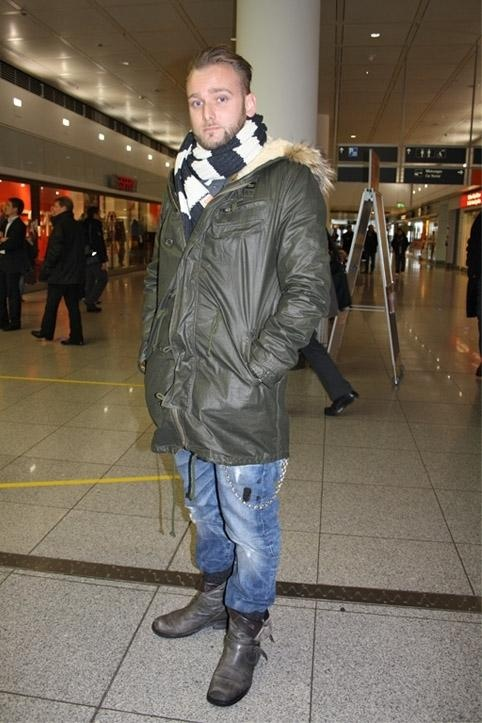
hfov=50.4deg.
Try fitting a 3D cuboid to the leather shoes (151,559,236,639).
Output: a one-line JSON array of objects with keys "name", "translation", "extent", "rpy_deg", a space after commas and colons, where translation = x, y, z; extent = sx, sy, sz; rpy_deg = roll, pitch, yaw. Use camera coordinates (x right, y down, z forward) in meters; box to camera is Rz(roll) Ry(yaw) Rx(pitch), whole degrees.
[{"name": "leather shoes", "translation": [-0.124, 0.795, 1.756], "extent": [0.340, 0.250, 0.133], "rpy_deg": [4, 2, -21]}]

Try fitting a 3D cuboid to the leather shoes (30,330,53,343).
[{"name": "leather shoes", "translation": [-2.861, -0.375, 7.387], "extent": [0.485, 0.169, 0.223], "rpy_deg": [10, 12, 43]}]

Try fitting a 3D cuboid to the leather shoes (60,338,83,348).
[{"name": "leather shoes", "translation": [-2.344, -0.267, 7.154], "extent": [0.305, 0.104, 0.249], "rpy_deg": [-1, 9, -12]}]

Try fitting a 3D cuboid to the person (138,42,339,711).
[{"name": "person", "translation": [-0.043, 0.050, 1.392], "extent": [0.578, 1.770, 0.406], "rpy_deg": [9, 11, 42]}]

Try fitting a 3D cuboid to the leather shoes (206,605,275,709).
[{"name": "leather shoes", "translation": [0.008, 0.828, 1.451], "extent": [0.103, 0.185, 0.259], "rpy_deg": [6, -2, 17]}]
